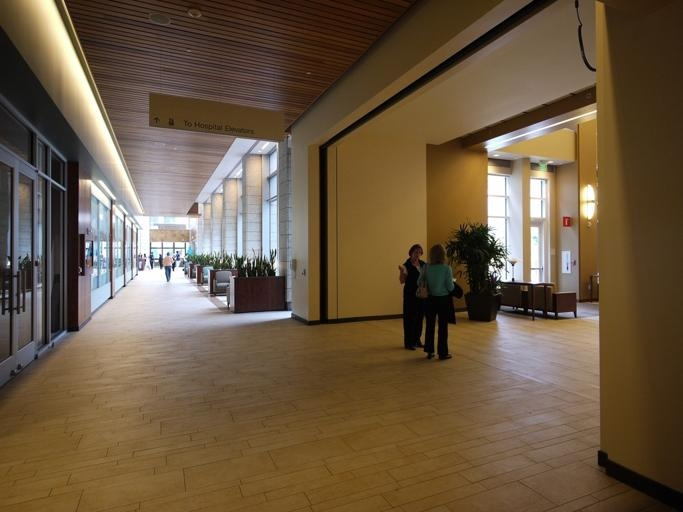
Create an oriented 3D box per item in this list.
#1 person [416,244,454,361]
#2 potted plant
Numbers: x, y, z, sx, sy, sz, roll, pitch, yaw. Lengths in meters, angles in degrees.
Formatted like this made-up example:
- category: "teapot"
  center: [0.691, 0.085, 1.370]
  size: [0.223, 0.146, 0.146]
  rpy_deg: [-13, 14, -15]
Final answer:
- category: "person"
  center: [1.355, 0.666, 6.378]
  size: [0.476, 1.639, 0.623]
  rpy_deg: [0, 3, 10]
- category: "potted plant"
  center: [3.220, 0.333, 10.633]
  size: [1.687, 3.000, 1.947]
  rpy_deg: [-1, 0, 6]
